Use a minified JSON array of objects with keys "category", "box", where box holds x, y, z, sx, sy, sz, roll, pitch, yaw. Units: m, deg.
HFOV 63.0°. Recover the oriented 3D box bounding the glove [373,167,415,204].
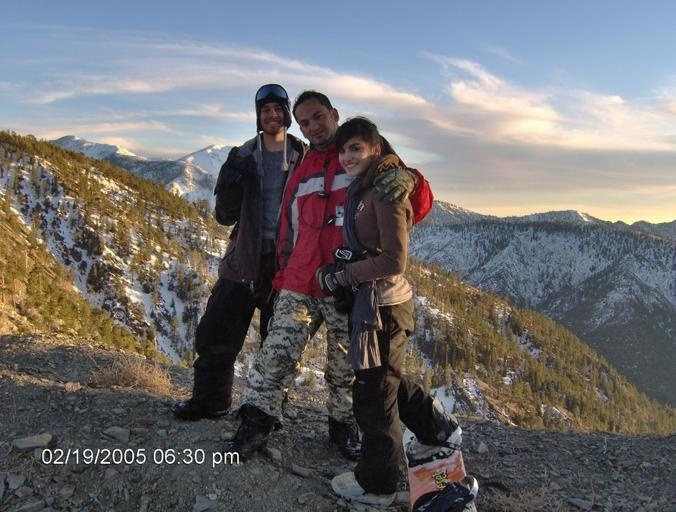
[{"category":"glove","box":[0.689,-0.837,6.440,0.503,0.359,0.311,5,15,-24]}]
